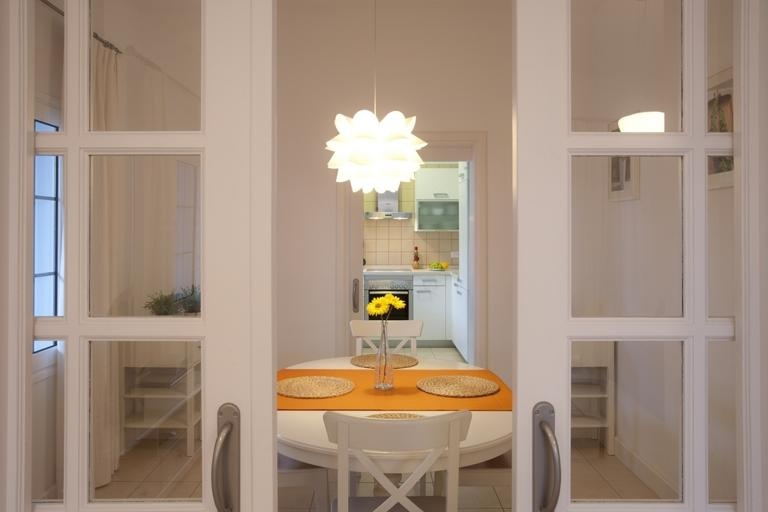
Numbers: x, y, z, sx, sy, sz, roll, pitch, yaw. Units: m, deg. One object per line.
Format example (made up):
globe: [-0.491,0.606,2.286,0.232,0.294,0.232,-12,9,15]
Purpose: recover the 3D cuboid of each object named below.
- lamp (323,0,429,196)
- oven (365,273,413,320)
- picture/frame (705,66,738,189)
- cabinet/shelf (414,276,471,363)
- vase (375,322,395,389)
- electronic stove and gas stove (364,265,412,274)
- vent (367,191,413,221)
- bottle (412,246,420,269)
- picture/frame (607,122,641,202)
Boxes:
lamp: [-0.059,-0.638,3.189,0.581,1.191,0.580,-2,2,-2]
oven: [0.043,0.503,7.018,0.569,0.762,0.533,-1,12,-7]
picture/frame: [0.931,-0.360,1.729,0.022,0.242,0.115,-22,21,-29]
cabinet/shelf: [0.571,0.584,6.122,0.842,0.778,0.455,-1,-6,2]
vase: [0.001,0.461,2.910,0.097,0.324,0.095,9,-17,-32]
electronic stove and gas stove: [0.043,0.141,7.150,0.538,0.064,0.799,-1,2,1]
vent: [0.053,-0.540,7.571,0.577,0.547,0.309,1,-6,-5]
bottle: [0.374,0.018,7.433,0.082,0.263,0.224,-1,2,3]
picture/frame: [0.660,-0.215,1.726,0.084,0.123,0.017,-2,3,-8]
